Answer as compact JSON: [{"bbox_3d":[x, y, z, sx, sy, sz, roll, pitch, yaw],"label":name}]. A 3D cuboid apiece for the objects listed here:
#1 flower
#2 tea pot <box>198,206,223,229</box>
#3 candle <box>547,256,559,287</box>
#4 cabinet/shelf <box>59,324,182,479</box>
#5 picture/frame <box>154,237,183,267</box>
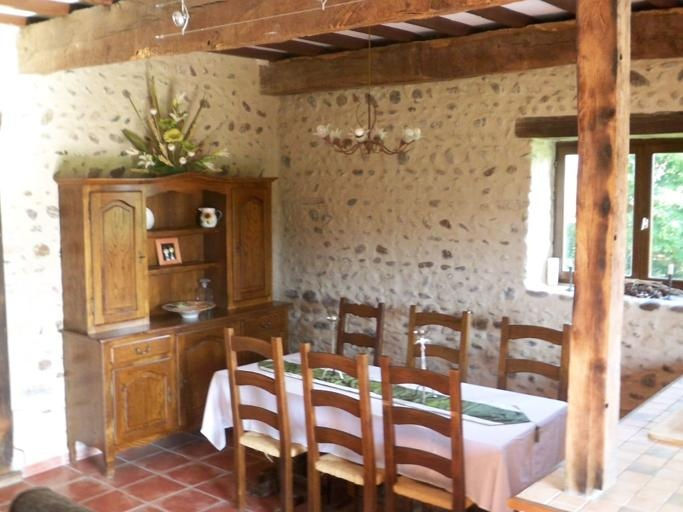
[{"bbox_3d":[-1.461,-1.235,5.099,0.426,1.042,0.953,6,9,36],"label":"flower"},{"bbox_3d":[-1.214,-0.355,5.196,0.264,0.186,0.171,1,1,-5],"label":"tea pot"},{"bbox_3d":[1.822,0.130,4.870,0.112,0.231,0.184,3,8,19],"label":"candle"},{"bbox_3d":[-1.744,1.120,4.508,0.871,1.064,0.456,-2,8,-20],"label":"cabinet/shelf"},{"bbox_3d":[-1.562,-0.034,5.060,0.021,0.253,0.284,-17,-5,32],"label":"picture/frame"}]
